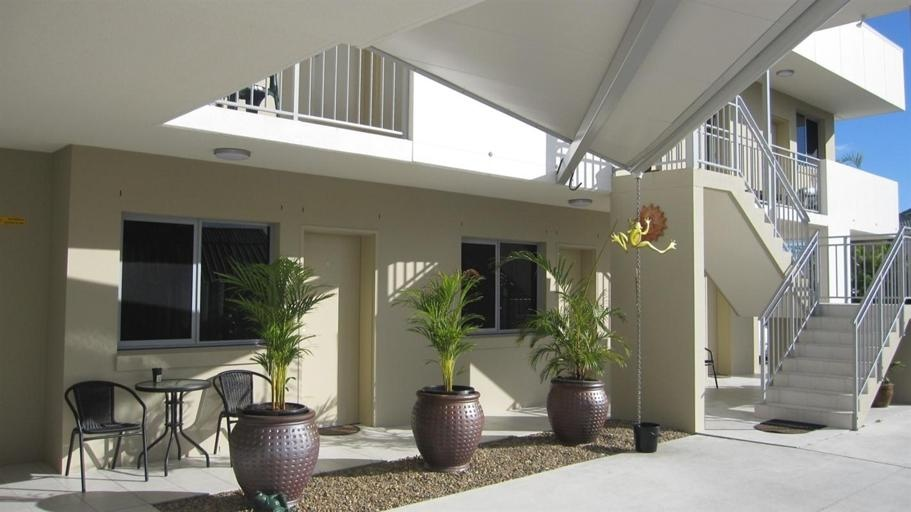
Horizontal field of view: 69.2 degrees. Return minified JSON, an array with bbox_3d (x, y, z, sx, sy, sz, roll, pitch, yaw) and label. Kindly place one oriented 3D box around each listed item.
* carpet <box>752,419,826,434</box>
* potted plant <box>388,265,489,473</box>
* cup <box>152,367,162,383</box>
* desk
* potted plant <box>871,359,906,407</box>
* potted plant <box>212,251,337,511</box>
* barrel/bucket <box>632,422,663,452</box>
[{"bbox_3d":[5.798,2.984,11.518,1.073,0.106,0.819,4,-7,-39],"label":"carpet"},{"bbox_3d":[-0.307,1.729,11.274,1.568,3.116,3.371,0,-5,2],"label":"potted plant"},{"bbox_3d":[-4.407,1.764,9.768,0.126,0.199,0.247,2,-6,-28],"label":"cup"},{"bbox_3d":[-4.209,2.531,9.879,1.085,1.209,1.070,0,-13,-19],"label":"desk"},{"bbox_3d":[8.750,2.590,13.375,0.398,0.870,1.218,-4,-6,40],"label":"potted plant"},{"bbox_3d":[-2.541,1.677,9.289,1.326,3.308,2.137,1,-5,-19],"label":"potted plant"},{"bbox_3d":[3.010,2.828,10.318,0.436,0.334,0.421,0,-13,0],"label":"barrel/bucket"}]
